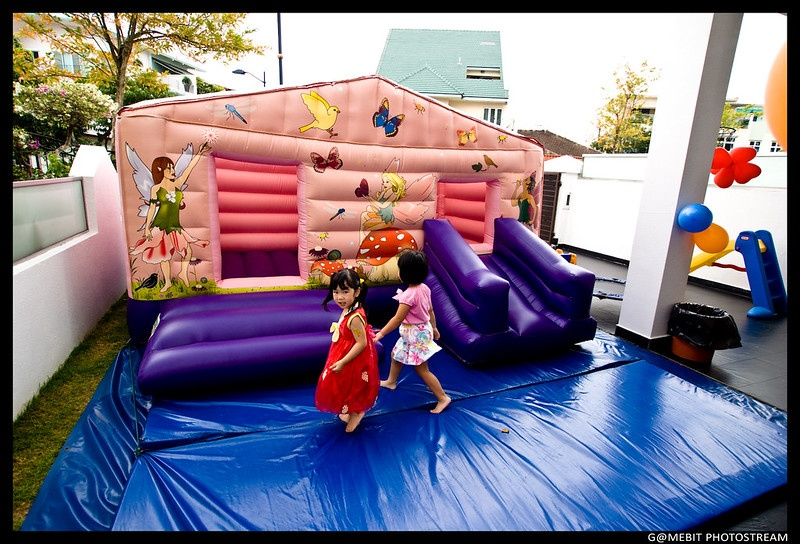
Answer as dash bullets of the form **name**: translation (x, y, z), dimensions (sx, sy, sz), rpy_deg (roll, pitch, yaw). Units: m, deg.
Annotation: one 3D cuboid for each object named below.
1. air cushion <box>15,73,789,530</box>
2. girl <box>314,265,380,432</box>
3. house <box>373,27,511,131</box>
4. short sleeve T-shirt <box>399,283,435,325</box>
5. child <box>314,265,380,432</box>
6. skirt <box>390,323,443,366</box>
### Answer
- **air cushion**: translation (0.028, 0.297, 4.535), dimensions (4.034, 1.824, 3.909), rpy_deg (-4, 16, -20)
- **girl**: translation (-0.414, 0.552, 3.646), dimensions (0.480, 1.134, 0.289), rpy_deg (0, 16, -5)
- **house**: translation (1.629, -6.280, 16.099), dimensions (4.072, 3.861, 3.236), rpy_deg (0, 21, 0)
- **short sleeve T-shirt**: translation (0.139, 0.267, 4.039), dimensions (0.360, 0.349, 0.240), rpy_deg (-16, 27, -34)
- **child**: translation (-0.415, 0.552, 3.648), dimensions (0.480, 1.134, 0.293), rpy_deg (0, 16, -6)
- **skirt**: translation (0.128, 0.559, 4.140), dimensions (0.403, 0.350, 0.516), rpy_deg (-3, 12, -12)
